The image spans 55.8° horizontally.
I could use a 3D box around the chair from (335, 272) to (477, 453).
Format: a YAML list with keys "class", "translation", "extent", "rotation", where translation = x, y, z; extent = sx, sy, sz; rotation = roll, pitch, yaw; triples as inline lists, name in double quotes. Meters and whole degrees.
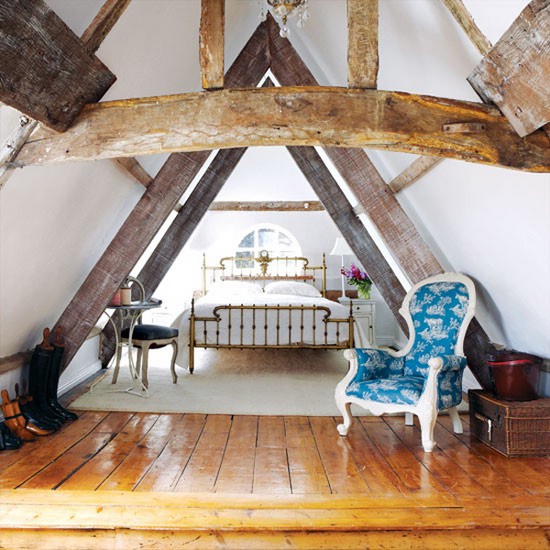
- class: "chair"
  translation: [0.861, 0.495, 3.328]
  extent: [0.687, 1.005, 0.770]
  rotation: [3, 4, 34]

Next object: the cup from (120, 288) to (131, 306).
- class: "cup"
  translation: [-1.216, 0.172, 4.189]
  extent: [0.079, 0.134, 0.072]
  rotation: [1, 3, 0]

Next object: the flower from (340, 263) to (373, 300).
- class: "flower"
  translation: [1.014, 0.105, 6.680]
  extent: [0.274, 0.341, 0.265]
  rotation: [-4, -20, -37]

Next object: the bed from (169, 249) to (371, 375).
- class: "bed"
  translation: [-0.083, 0.281, 5.968]
  extent: [1.896, 1.008, 2.210]
  rotation: [1, 5, -2]

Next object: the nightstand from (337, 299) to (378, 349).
- class: "nightstand"
  translation: [0.906, 0.609, 6.211]
  extent: [0.555, 0.566, 0.480]
  rotation: [1, -10, -22]

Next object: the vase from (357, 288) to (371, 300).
- class: "vase"
  translation: [1.114, 0.245, 6.479]
  extent: [0.142, 0.086, 0.130]
  rotation: [-1, -5, 3]
